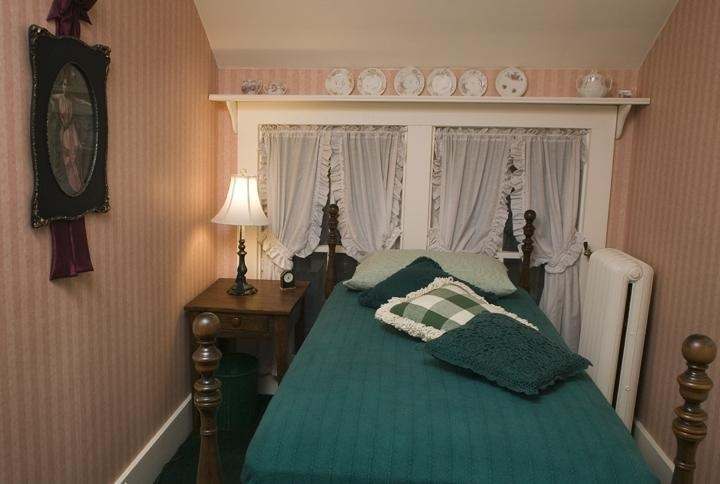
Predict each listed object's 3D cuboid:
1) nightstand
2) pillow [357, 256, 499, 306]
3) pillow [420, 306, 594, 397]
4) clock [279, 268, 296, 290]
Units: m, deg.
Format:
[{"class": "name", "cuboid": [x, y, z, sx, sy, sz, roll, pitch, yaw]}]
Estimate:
[{"class": "nightstand", "cuboid": [-0.675, 0.744, 3.980, 0.831, 0.926, 0.888, 0, 4, 3]}, {"class": "pillow", "cuboid": [0.295, 0.251, 3.523, 0.439, 0.139, 0.448, -11, 12, -18]}, {"class": "pillow", "cuboid": [0.711, 0.433, 2.727, 0.456, 0.102, 0.467, -15, 21, -36]}, {"class": "clock", "cuboid": [-0.521, 0.268, 4.125, 0.140, 0.185, 0.114, -1, 0, -39]}]
